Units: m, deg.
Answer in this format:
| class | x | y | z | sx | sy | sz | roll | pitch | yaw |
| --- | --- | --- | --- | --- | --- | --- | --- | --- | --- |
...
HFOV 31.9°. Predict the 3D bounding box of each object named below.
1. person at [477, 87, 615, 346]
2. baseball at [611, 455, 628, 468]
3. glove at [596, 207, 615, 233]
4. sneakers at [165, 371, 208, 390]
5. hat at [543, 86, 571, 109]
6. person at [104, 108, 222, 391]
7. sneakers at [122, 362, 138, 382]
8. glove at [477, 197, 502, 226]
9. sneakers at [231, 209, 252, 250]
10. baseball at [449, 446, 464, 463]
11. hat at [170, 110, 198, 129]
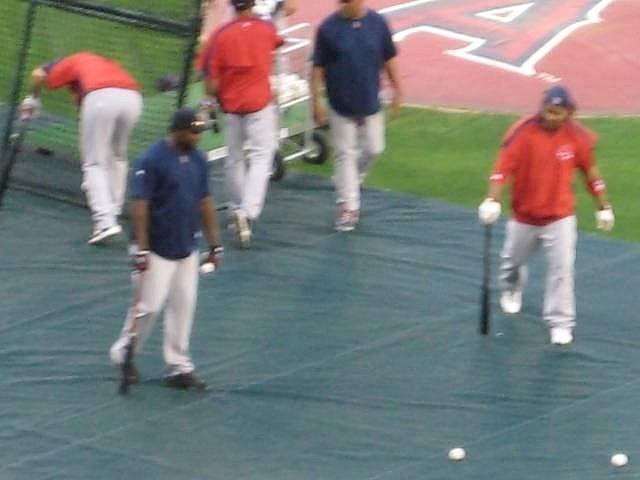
| class | x | y | z | sx | sy | sz | roll | pitch | yaw |
| --- | --- | --- | --- | --- | --- | --- | --- | --- | --- |
| person | 1.871 | -0.105 | 9.362 | 1.014 | 1.907 | 0.680 | 9 | 23 | 13 |
| baseball | 2.184 | 1.617 | 8.221 | 0.135 | 0.062 | 0.139 | 8 | 18 | 14 |
| glove | 2.402 | -0.197 | 9.596 | 0.203 | 0.175 | 0.207 | -2 | 21 | 4 |
| sneakers | -1.069 | 1.123 | 8.926 | 0.293 | 0.094 | 0.149 | 3 | 3 | 6 |
| hat | 1.913 | -1.148 | 9.084 | 0.241 | 0.086 | 0.186 | 13 | 52 | 1 |
| person | -1.195 | 0.089 | 8.739 | 0.789 | 2.234 | 0.710 | 4 | 22 | -1 |
| sneakers | -1.507 | 1.053 | 8.866 | 0.102 | 0.172 | 0.065 | -42 | 38 | -20 |
| glove | 1.393 | -0.226 | 9.303 | 0.158 | 0.234 | 0.220 | 8 | 20 | 10 |
| sneakers | -0.765 | -0.100 | 10.832 | 0.219 | 0.386 | 0.080 | -16 | 6 | 17 |
| baseball | 1.005 | 1.585 | 8.300 | 0.130 | 0.060 | 0.143 | 5 | 18 | 6 |
| hat | -1.042 | -0.911 | 8.503 | 0.205 | 0.159 | 0.181 | 1 | 20 | -8 |
